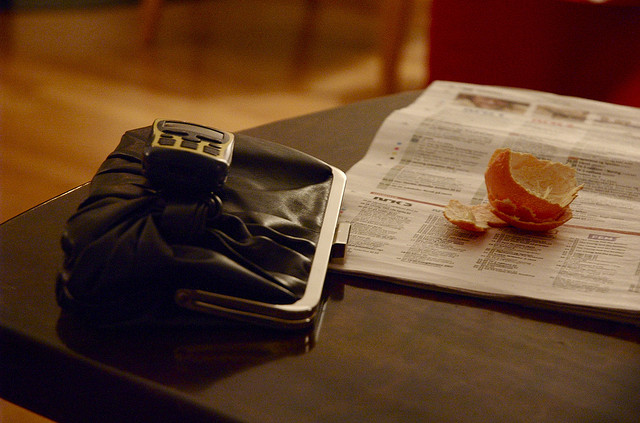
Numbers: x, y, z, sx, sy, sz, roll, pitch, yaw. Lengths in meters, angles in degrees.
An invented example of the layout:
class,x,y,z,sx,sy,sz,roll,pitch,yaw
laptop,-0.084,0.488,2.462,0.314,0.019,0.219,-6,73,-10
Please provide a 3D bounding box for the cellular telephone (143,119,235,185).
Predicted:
class,x,y,z,sx,sy,sz,roll,pitch,yaw
cellular telephone,-0.145,-0.075,0.594,0.109,0.027,0.112,11,25,-46

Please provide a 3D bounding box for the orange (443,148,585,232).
class,x,y,z,sx,sy,sz,roll,pitch,yaw
orange,0.259,-0.019,0.710,0.164,0.078,0.119,-15,29,-22

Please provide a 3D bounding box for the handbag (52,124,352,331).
class,x,y,z,sx,sy,sz,roll,pitch,yaw
handbag,-0.124,-0.009,0.604,0.311,0.142,0.283,1,50,4
